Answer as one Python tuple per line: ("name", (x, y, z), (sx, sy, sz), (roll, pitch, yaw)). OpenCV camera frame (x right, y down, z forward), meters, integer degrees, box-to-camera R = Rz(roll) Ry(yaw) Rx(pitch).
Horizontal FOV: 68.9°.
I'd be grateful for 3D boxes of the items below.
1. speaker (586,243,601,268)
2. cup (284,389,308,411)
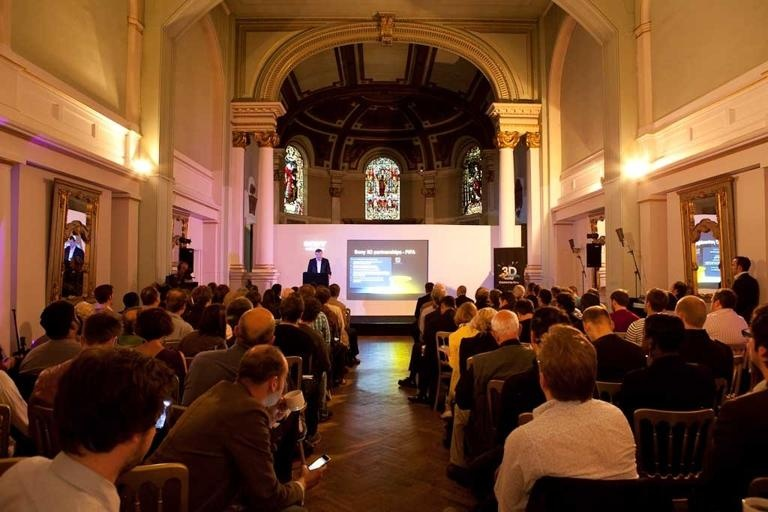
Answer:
("speaker", (4.060, -0.003, 10.813), (0.220, 0.456, 0.325), (2, 5, 27))
("cup", (-0.644, 1.057, 4.105), (0.144, 0.120, 0.151), (-4, 3, 0))
